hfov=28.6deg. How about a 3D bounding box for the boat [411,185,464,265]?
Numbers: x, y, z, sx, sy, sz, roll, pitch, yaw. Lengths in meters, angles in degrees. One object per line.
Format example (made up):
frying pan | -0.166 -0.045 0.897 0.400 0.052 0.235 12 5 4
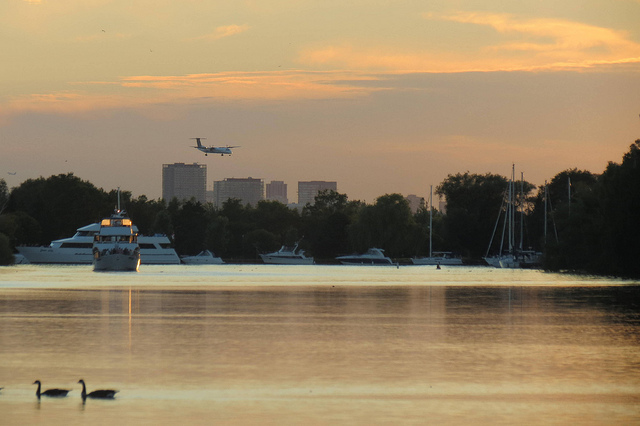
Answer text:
boat | 19.369 2.338 213.328 10.302 13.314 2.750 -1 5 -18

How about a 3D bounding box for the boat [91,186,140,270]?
boat | -28.795 3.612 176.731 5.807 6.206 15.945 -2 11 -9

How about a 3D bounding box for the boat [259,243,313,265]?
boat | -5.428 7.474 218.279 11.613 4.279 3.032 1 -5 13

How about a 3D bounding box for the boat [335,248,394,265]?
boat | 7.262 7.240 210.219 11.646 3.109 3.075 2 -4 37

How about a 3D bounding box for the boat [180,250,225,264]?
boat | -21.056 7.899 223.667 8.882 2.641 2.503 2 -3 0
